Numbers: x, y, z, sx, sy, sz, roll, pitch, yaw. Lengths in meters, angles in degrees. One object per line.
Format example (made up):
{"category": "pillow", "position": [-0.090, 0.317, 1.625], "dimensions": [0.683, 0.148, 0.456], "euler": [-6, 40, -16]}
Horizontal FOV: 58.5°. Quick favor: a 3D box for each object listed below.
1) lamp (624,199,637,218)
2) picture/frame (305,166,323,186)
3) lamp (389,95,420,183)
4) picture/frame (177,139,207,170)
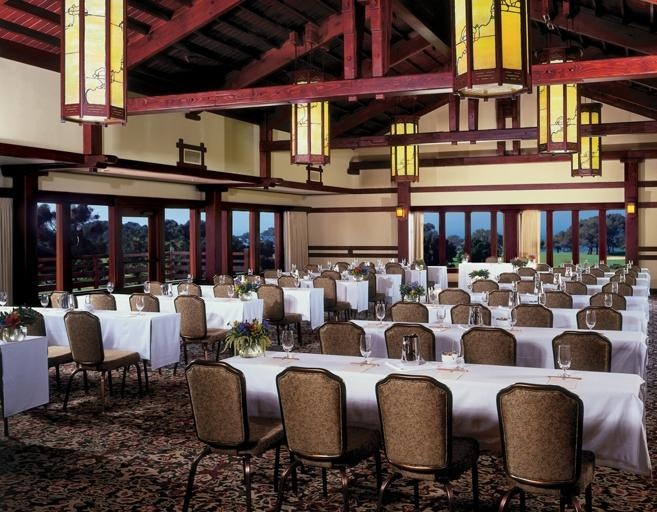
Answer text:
{"category": "lamp", "position": [7.817, -1.233, 15.213], "dimensions": [0.314, 0.475, 0.311], "euler": [0, -1, -26]}
{"category": "picture/frame", "position": [-0.411, -2.108, 15.444], "dimensions": [0.045, 0.443, 0.626], "euler": [-2, 0, 27]}
{"category": "lamp", "position": [1.613, -2.337, 12.557], "dimensions": [0.603, 1.440, 0.633], "euler": [-3, 2, 8]}
{"category": "picture/frame", "position": [-2.676, -2.006, 11.522], "dimensions": [0.051, 0.481, 0.864], "euler": [-2, 2, 28]}
